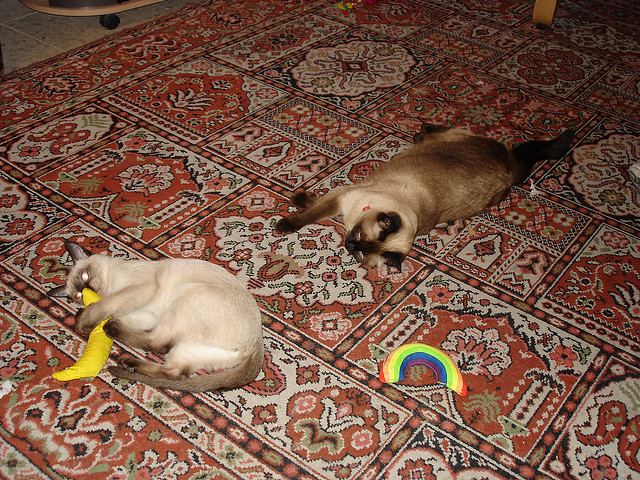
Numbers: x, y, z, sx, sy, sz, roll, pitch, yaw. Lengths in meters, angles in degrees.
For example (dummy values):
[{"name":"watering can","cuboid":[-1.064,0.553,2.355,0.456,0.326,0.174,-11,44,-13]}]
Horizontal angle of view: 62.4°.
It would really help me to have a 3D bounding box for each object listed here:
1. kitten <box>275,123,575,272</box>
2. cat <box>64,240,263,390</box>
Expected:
[{"name":"kitten","cuboid":[0.711,-0.393,3.560,0.839,0.411,1.706,38,61,25]},{"name":"cat","cuboid":[-0.784,0.395,2.738,0.820,0.453,0.971,-26,57,-16]}]
